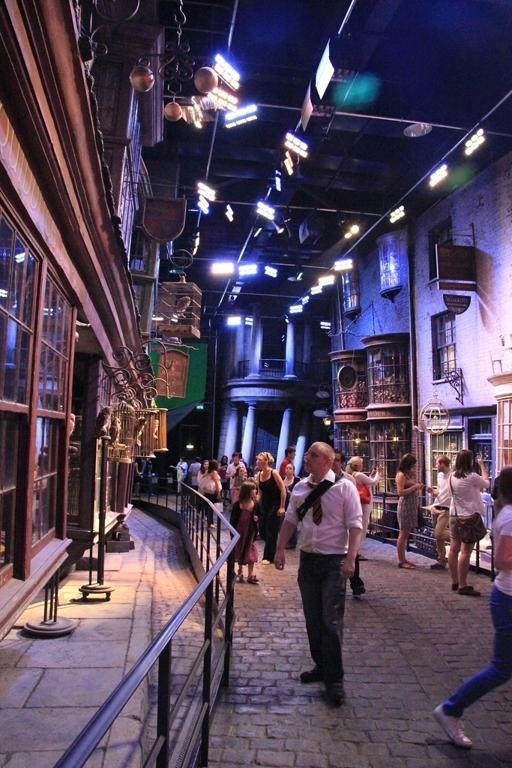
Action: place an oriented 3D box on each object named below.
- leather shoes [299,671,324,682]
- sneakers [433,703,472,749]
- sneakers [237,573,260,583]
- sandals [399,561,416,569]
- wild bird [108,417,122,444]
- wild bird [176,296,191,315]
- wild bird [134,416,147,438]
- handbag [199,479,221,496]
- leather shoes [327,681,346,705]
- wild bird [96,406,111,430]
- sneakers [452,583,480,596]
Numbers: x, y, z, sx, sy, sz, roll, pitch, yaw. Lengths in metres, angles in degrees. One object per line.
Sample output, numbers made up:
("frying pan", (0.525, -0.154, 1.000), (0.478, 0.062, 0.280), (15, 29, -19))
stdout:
("leather shoes", (0.454, 2.413, 4.628), (0.195, 0.109, 0.071), (2, -12, -19))
("sneakers", (1.261, 2.192, 3.626), (0.213, 0.215, 0.265), (-5, -12, 15))
("sneakers", (-0.154, 3.067, 8.831), (0.379, 0.107, 0.141), (-10, -19, 28))
("sandals", (2.682, 3.230, 9.959), (0.234, 0.094, 0.124), (-1, -4, 4))
("wild bird", (-1.537, 0.508, 6.143), (0.120, 0.296, 0.050), (2, -12, -18))
("wild bird", (-1.863, -2.050, 14.838), (0.132, 0.331, 0.480), (4, -51, -52))
("wild bird", (-1.353, 0.503, 6.576), (0.108, 0.225, 0.125), (3, -12, -23))
("handbag", (-1.053, 2.355, 12.783), (0.346, 0.525, 0.493), (5, -31, 4))
("leather shoes", (0.592, 2.315, 4.178), (0.133, 0.125, 0.142), (-3, -11, 5))
("wild bird", (-1.687, 0.396, 6.184), (0.238, 0.273, 0.097), (-12, -15, 42))
("sneakers", (2.976, 2.926, 7.960), (0.360, 0.143, 0.133), (-3, -10, 27))
